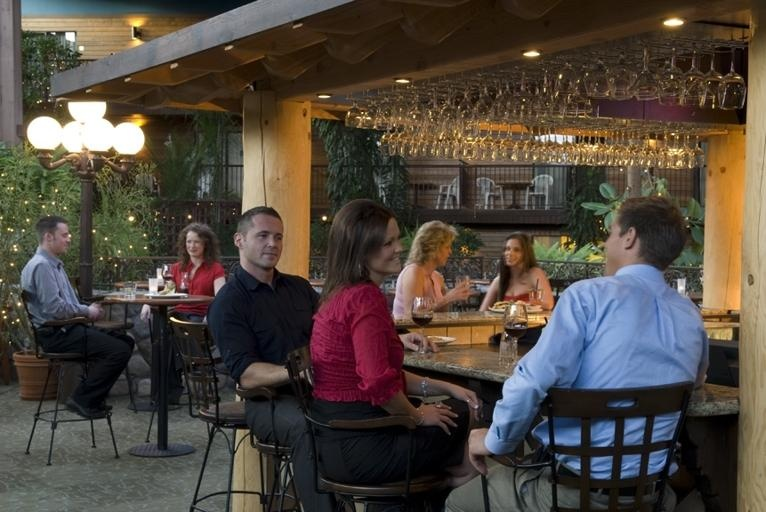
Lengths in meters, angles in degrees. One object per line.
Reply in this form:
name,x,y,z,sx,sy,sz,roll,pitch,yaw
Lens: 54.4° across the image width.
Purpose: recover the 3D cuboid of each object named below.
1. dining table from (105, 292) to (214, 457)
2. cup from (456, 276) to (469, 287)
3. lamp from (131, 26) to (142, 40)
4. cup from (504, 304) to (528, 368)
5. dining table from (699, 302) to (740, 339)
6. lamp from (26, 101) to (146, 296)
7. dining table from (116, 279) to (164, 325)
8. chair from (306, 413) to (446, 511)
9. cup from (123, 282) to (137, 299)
dining table,-2.035,1.149,6.903,1.164,1.363,1.124,2,-4,-36
cup,0.892,0.294,8.422,0.170,0.097,0.089,2,2,23
lamp,-6.184,-5.650,18.766,0.254,0.330,0.279,-1,6,-18
cup,0.788,0.484,4.439,0.130,0.418,0.129,-3,18,1
dining table,3.300,0.664,7.293,0.317,0.201,1.627,4,5,24
lamp,-3.119,-0.483,7.806,1.111,2.053,1.071,2,-9,-33
dining table,-2.667,0.456,7.893,0.656,0.395,0.653,2,0,4
chair,-0.029,1.042,3.923,0.543,0.673,0.540,-3,-5,4
cup,-2.557,0.361,7.524,0.140,0.199,0.141,1,3,0
